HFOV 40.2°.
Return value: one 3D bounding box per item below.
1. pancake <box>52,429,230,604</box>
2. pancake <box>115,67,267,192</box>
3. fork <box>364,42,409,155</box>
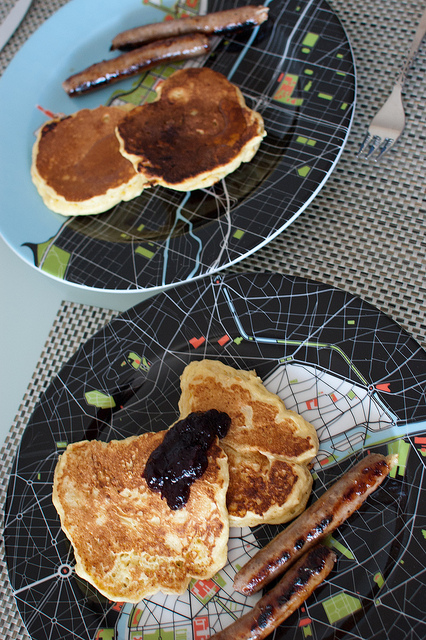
[{"bbox_3d":[-0.129,0.438,1.437,0.473,0.062,0.489,27,101,-1],"label":"pancake"},{"bbox_3d":[-0.059,-0.561,1.723,0.399,0.046,0.394,-41,68,-7],"label":"pancake"},{"bbox_3d":[0.543,-0.678,1.821,0.060,0.046,0.411,23,88,15],"label":"fork"}]
